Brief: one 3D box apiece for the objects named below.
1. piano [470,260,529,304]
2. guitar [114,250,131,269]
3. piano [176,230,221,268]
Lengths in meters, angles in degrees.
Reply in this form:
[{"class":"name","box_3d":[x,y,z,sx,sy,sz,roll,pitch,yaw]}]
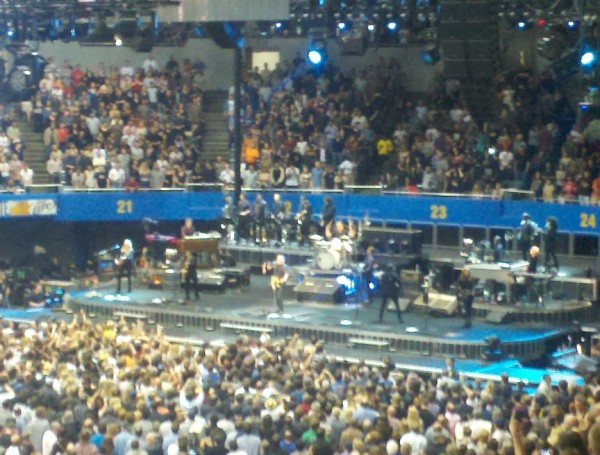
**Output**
[{"class":"piano","box_3d":[5.810,1.467,29.969,1.640,0.961,0.731,8,31,12]},{"class":"guitar","box_3d":[-5.474,0.964,31.866,0.515,0.488,0.393,26,9,11]},{"class":"piano","box_3d":[-3.195,0.743,33.224,2.167,0.962,1.950,2,3,-18]}]
